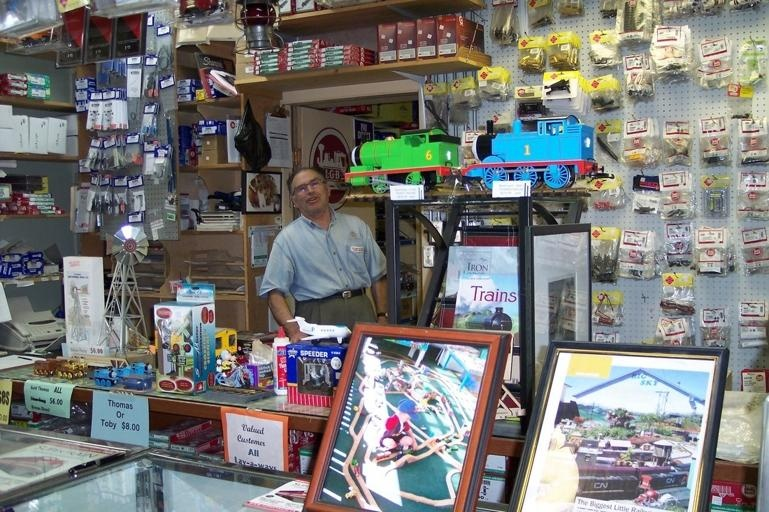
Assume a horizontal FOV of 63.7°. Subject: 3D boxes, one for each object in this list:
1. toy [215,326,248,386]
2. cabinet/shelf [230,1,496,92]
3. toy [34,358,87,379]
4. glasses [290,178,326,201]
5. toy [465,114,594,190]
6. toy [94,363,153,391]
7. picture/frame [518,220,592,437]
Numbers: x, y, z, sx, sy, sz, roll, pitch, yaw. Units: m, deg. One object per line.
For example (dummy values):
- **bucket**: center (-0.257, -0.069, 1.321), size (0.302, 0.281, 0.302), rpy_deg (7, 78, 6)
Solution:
- **toy**: center (-0.708, 0.502, 3.004), size (0.180, 0.222, 0.246), rpy_deg (0, -6, -10)
- **cabinet/shelf**: center (-0.244, -1.627, 4.770), size (2.136, 0.634, 0.835), rpy_deg (2, 0, 40)
- **toy**: center (-1.679, 0.586, 3.183), size (0.306, 0.085, 0.112), rpy_deg (2, 0, 24)
- **glasses**: center (-0.497, -0.429, 3.956), size (0.215, 0.130, 0.149), rpy_deg (2, -1, -5)
- **toy**: center (0.727, -0.513, 3.083), size (0.629, 0.354, 0.187), rpy_deg (2, -1, 8)
- **toy**: center (-1.262, 0.584, 2.952), size (0.167, 0.047, 0.162), rpy_deg (1, 2, 7)
- **picture/frame**: center (0.596, 0.258, 2.214), size (0.039, 0.927, 0.800), rpy_deg (1, 2, 29)
